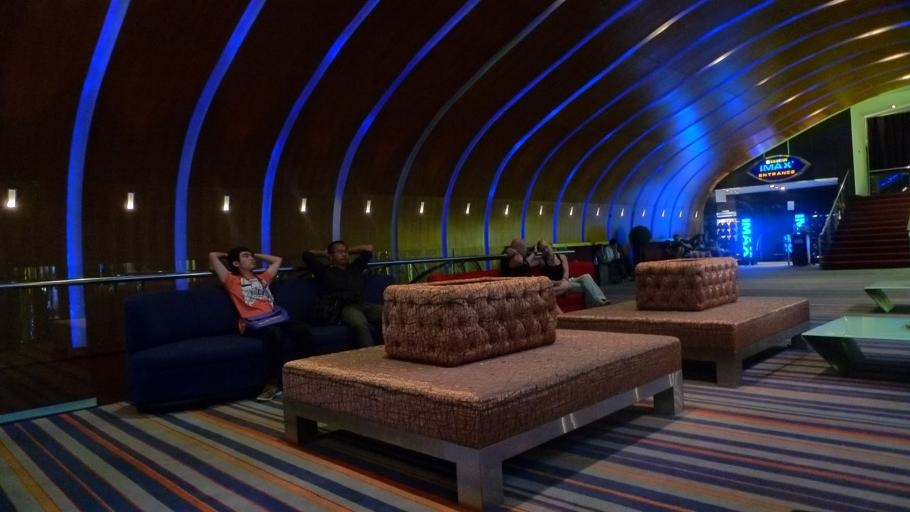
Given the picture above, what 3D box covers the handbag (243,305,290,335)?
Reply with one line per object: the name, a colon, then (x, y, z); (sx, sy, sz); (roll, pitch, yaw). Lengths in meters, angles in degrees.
handbag: (-2.900, 0.992, 8.390); (0.484, 0.165, 0.376); (-21, 41, -31)
